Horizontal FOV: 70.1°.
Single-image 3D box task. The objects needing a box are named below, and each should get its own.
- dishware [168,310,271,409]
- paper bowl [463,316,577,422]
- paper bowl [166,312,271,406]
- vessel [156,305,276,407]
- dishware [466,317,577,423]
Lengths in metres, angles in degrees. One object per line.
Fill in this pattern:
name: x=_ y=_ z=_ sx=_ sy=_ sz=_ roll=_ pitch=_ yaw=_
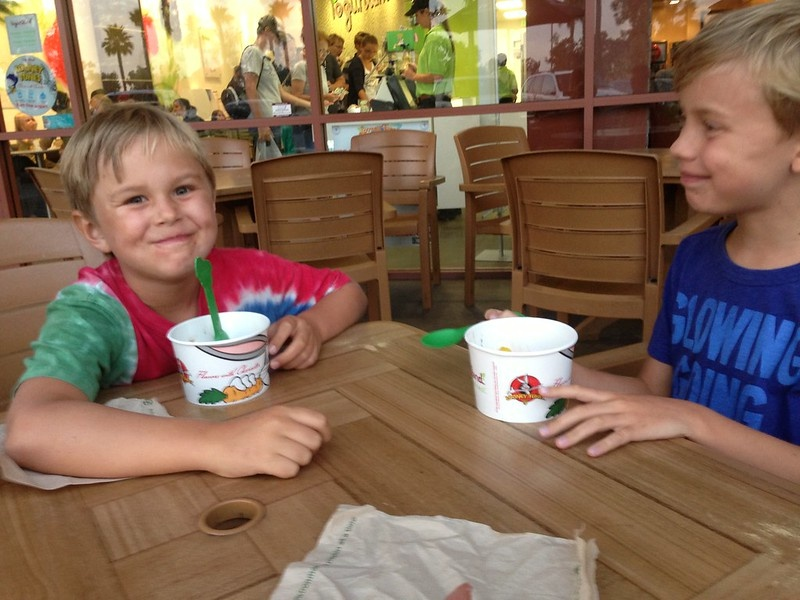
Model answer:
dishware: x=-0.331 y=0.126 z=1.105 sx=0.229 sy=0.110 sz=0.187 roll=-3 pitch=20 yaw=-6
paper bowl: x=0.217 y=0.136 z=0.958 sx=0.212 sy=0.097 sz=0.169 roll=2 pitch=-1 yaw=-11
paper bowl: x=-0.330 y=0.113 z=1.071 sx=0.196 sy=0.100 sz=0.174 roll=-3 pitch=13 yaw=-11
vessel: x=-0.342 y=0.086 z=1.079 sx=0.229 sy=0.109 sz=0.187 roll=-3 pitch=21 yaw=-7
dishware: x=0.206 y=0.112 z=0.976 sx=0.223 sy=0.103 sz=0.190 roll=0 pitch=12 yaw=5
